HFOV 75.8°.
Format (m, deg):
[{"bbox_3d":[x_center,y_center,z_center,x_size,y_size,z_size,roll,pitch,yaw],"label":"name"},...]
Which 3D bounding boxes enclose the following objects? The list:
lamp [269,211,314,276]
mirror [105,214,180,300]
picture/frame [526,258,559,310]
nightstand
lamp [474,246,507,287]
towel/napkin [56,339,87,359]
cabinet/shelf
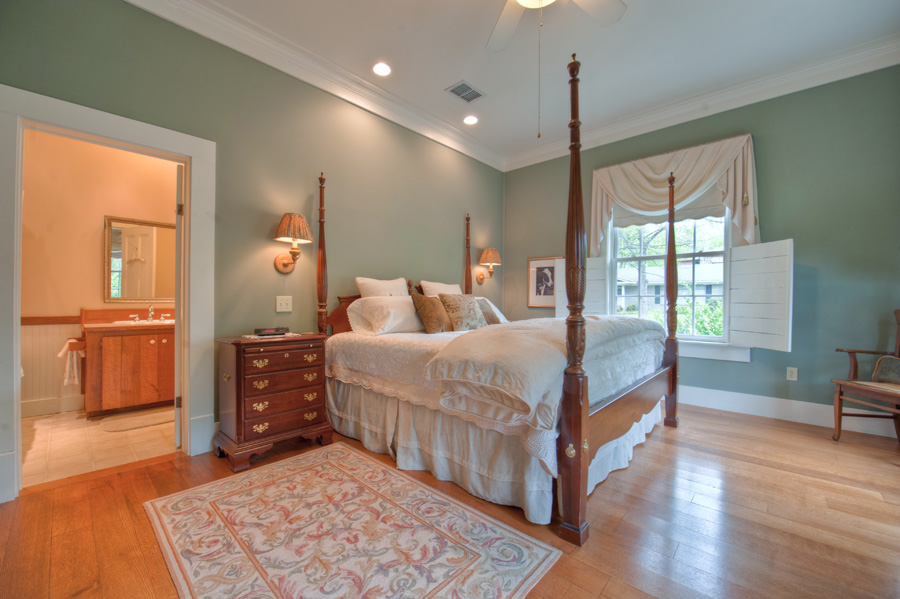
[{"bbox_3d":[-1.587,-0.557,5.852,0.358,0.599,0.296,-2,3,-17],"label":"lamp"},{"bbox_3d":[-3.557,-0.499,6.655,0.055,1.217,1.020,1,0,36],"label":"mirror"},{"bbox_3d":[1.276,-0.215,7.830,0.076,0.933,0.672,3,-3,-39],"label":"picture/frame"},{"bbox_3d":[-1.681,0.856,5.589,1.038,1.166,0.636,-6,15,-43],"label":"nightstand"},{"bbox_3d":[0.485,-0.455,7.859,0.442,0.596,0.484,5,-10,-39],"label":"lamp"},{"bbox_3d":[-4.045,0.514,6.221,0.212,0.150,0.214,0,1,38],"label":"towel/napkin"},{"bbox_3d":[-3.563,0.730,6.610,0.562,1.019,1.051,13,11,42],"label":"cabinet/shelf"}]
